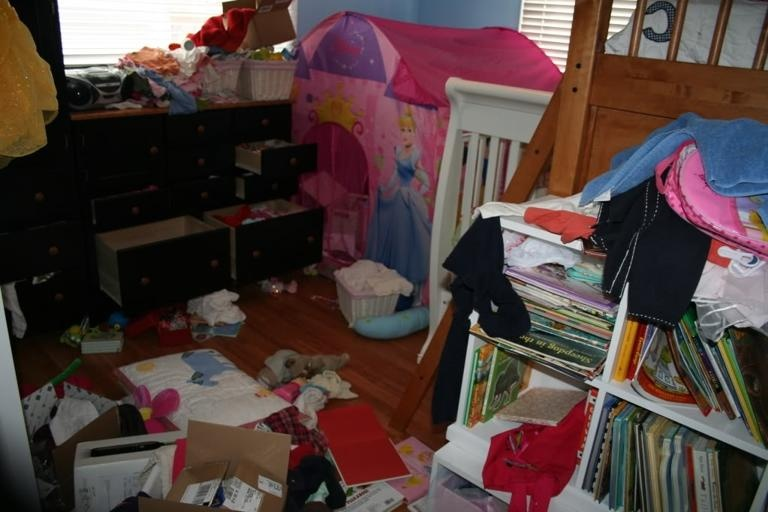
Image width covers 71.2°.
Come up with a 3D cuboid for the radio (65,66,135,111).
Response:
[{"bbox_3d":[-1.471,-0.857,2.760,0.300,0.190,0.229,-12,28,-33],"label":"radio"}]
